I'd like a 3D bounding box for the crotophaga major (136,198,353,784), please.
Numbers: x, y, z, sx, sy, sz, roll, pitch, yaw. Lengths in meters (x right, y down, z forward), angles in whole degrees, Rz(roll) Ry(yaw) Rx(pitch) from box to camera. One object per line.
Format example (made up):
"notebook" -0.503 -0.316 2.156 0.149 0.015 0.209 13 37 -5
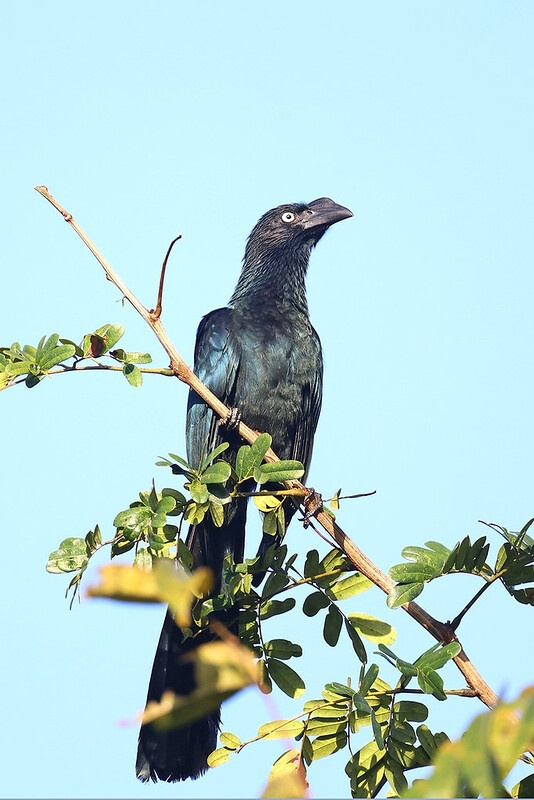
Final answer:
"crotophaga major" -0.246 0.044 6.053 0.569 3.016 1.110 8 -10 -5
